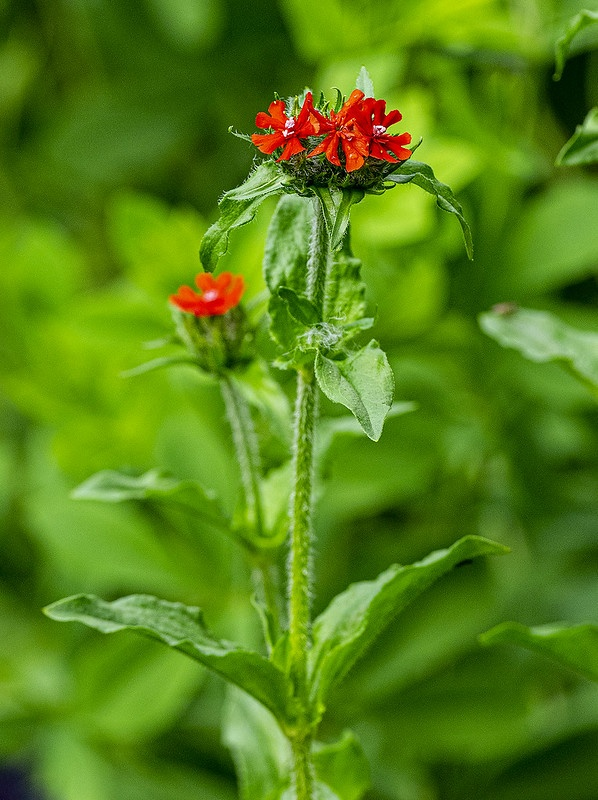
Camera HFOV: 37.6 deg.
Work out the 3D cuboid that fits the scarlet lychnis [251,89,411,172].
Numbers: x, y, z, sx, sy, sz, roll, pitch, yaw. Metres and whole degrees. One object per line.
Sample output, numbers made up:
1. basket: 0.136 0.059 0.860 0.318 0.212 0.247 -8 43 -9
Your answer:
1. scarlet lychnis: 0.023 -0.192 0.633 0.106 0.040 0.063 3 67 -4
